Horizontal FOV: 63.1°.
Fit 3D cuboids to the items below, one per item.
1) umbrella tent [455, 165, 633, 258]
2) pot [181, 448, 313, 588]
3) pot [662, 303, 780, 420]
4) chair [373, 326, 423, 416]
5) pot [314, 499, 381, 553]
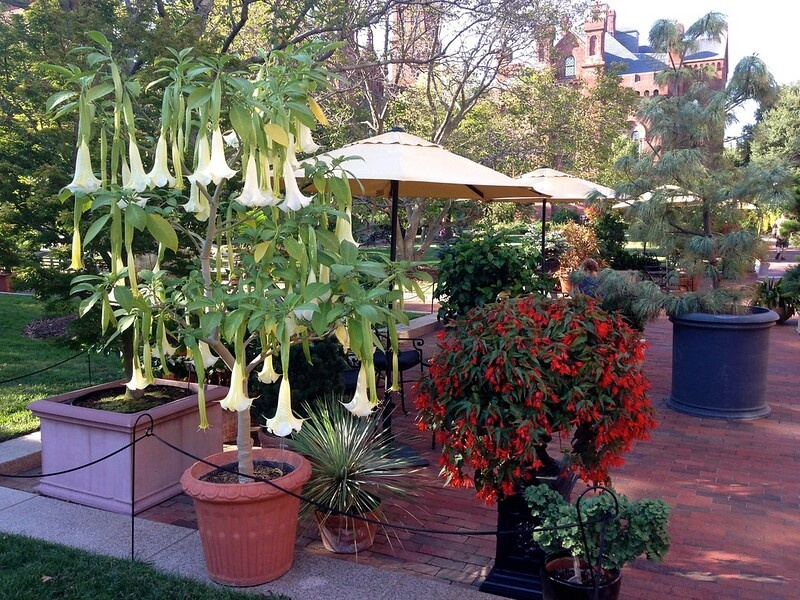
[{"bbox_3d":[3.375,-1.934,14.569,3.666,2.589,3.799,2,2,6],"label":"umbrella tent"},{"bbox_3d":[-1.070,1.586,4.832,0.865,0.697,0.922,2,2,0],"label":"pot"},{"bbox_3d":[3.953,0.683,8.206,1.250,1.306,1.316,-1,1,0],"label":"pot"},{"bbox_3d":[0.046,0.626,7.120,0.535,0.757,0.515,-3,-9,23],"label":"chair"},{"bbox_3d":[-0.425,1.797,5.043,0.450,0.255,0.486,1,-3,0],"label":"pot"}]
